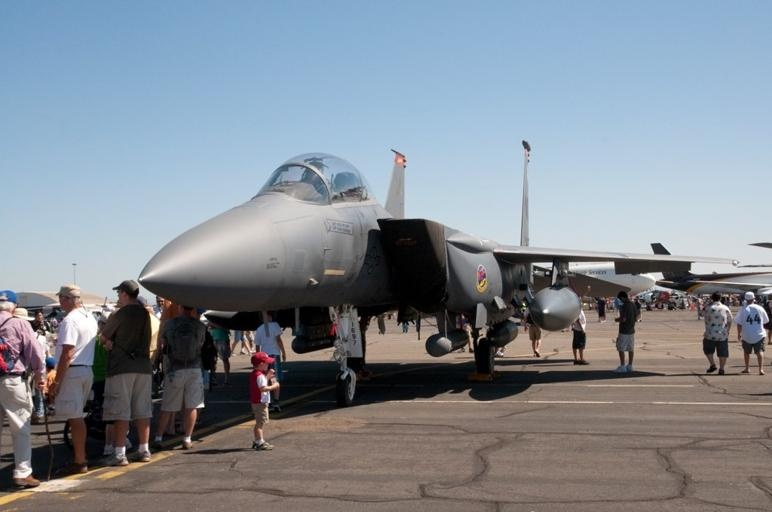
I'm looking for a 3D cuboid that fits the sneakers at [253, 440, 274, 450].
[{"bbox_3d":[-1.881,2.848,11.149,0.356,0.124,0.126,0,3,1],"label":"sneakers"}]

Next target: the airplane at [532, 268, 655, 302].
[{"bbox_3d":[7.284,0.893,25.215,4.479,1.181,4.029,-1,1,11],"label":"airplane"}]
